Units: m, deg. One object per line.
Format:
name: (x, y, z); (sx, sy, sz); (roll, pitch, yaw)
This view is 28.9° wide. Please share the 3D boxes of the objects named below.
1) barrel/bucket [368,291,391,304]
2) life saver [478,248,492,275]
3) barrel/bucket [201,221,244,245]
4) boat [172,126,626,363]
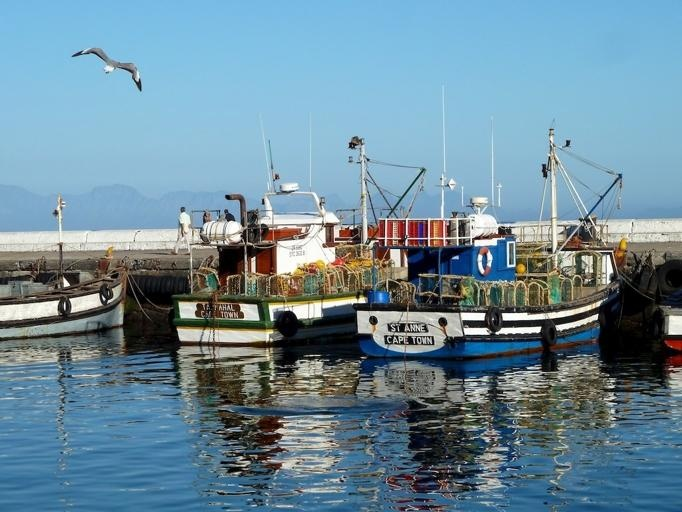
barrel/bucket: (0.941, 1.036, 34.070); (0.414, 0.242, 0.391); (0, -5, 0)
life saver: (3.812, 0.099, 35.011); (0.149, 0.749, 0.594); (9, 15, 38)
barrel/bucket: (-3.317, -0.682, 36.448); (0.888, 0.526, 0.773); (-1, -5, 24)
boat: (4.199, -0.151, 37.489); (6.916, 3.869, 10.635); (-4, -4, 41)
